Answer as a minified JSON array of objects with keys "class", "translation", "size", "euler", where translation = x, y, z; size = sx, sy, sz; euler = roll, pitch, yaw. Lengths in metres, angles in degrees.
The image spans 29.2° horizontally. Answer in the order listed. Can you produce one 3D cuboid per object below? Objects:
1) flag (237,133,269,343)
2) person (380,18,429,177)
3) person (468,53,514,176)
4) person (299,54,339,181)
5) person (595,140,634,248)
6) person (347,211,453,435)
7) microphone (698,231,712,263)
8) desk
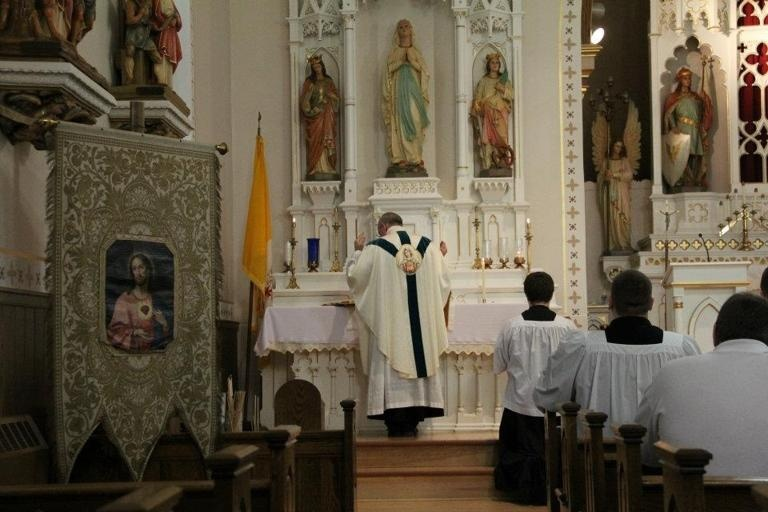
[{"class":"flag","translation":[-1.579,-0.311,17.939],"size":[0.345,2.507,0.957],"euler":[0,-2,-6]},{"class":"person","translation":[0.244,-1.934,18.342],"size":[0.569,1.925,0.247],"euler":[0,-2,-2]},{"class":"person","translation":[1.327,-1.738,18.375],"size":[0.517,1.510,0.239],"euler":[0,-2,2]},{"class":"person","translation":[-0.839,-1.705,18.445],"size":[0.474,1.526,0.241],"euler":[0,-2,-6]},{"class":"person","translation":[3.168,-0.791,20.304],"size":[0.551,1.531,0.369],"euler":[-1,-2,30]},{"class":"person","translation":[0.142,0.729,15.973],"size":[1.097,2.401,0.448],"euler":[0,-2,1]},{"class":"microphone","translation":[4.264,-0.128,19.595],"size":[0.115,0.355,0.242],"euler":[0,-2,-12]},{"class":"desk","translation":[0.054,1.820,17.211],"size":[3.322,1.297,1.480],"euler":[2,-38,-1]}]
